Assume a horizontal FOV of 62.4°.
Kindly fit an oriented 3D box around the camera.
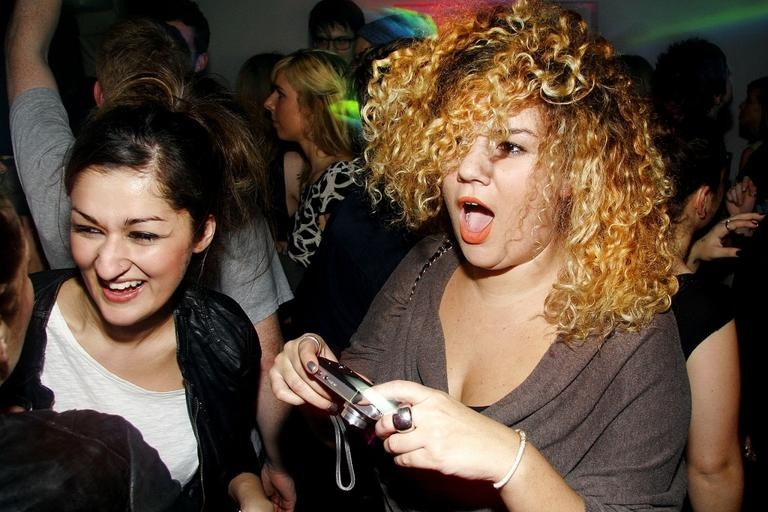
[{"bbox_3d":[-0.095,0.430,2.038,0.319,0.121,0.156,32,-10,23],"label":"camera"}]
